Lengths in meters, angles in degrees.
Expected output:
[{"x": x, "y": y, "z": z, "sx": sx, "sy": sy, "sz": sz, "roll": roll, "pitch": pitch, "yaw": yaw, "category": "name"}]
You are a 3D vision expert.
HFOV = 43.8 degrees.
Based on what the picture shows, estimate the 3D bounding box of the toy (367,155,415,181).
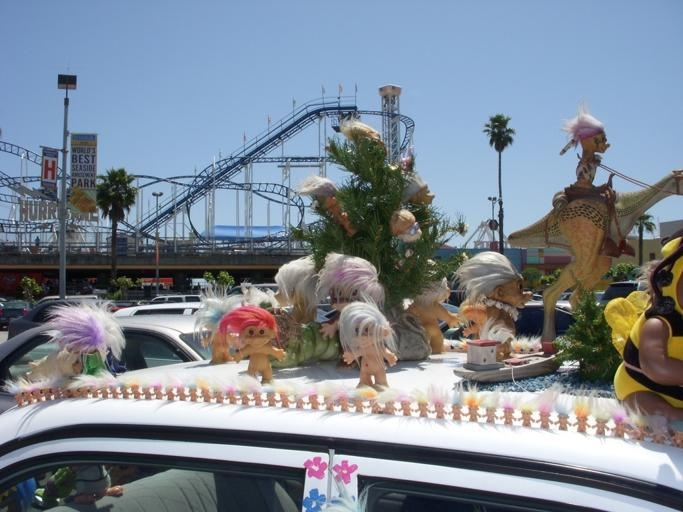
[{"x": 0.253, "y": -0.457, "z": 4.184, "sx": 0.203, "sy": 0.133, "sz": 0.319, "roll": 1, "pitch": 1, "yaw": 16, "category": "toy"}]

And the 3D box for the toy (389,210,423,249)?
[{"x": 0.303, "y": -0.146, "z": 4.063, "sx": 0.115, "sy": 0.135, "sz": 0.161, "roll": -35, "pitch": -9, "yaw": -2, "category": "toy"}]

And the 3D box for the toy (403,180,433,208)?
[{"x": 0.387, "y": -0.318, "z": 4.258, "sx": 0.159, "sy": 0.112, "sz": 0.080, "roll": 0, "pitch": 1, "yaw": -12, "category": "toy"}]

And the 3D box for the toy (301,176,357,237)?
[{"x": -0.075, "y": -0.282, "z": 4.162, "sx": 0.214, "sy": 0.152, "sz": 0.359, "roll": -26, "pitch": 43, "yaw": -19, "category": "toy"}]

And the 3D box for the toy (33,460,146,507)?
[{"x": -0.897, "y": 0.777, "z": 2.958, "sx": 0.284, "sy": 0.138, "sz": 0.217, "roll": -1, "pitch": -4, "yaw": -6, "category": "toy"}]

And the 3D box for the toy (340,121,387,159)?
[{"x": 0.109, "y": -0.595, "z": 4.201, "sx": 0.226, "sy": 0.200, "sz": 0.346, "roll": 1, "pitch": 1, "yaw": -3, "category": "toy"}]
